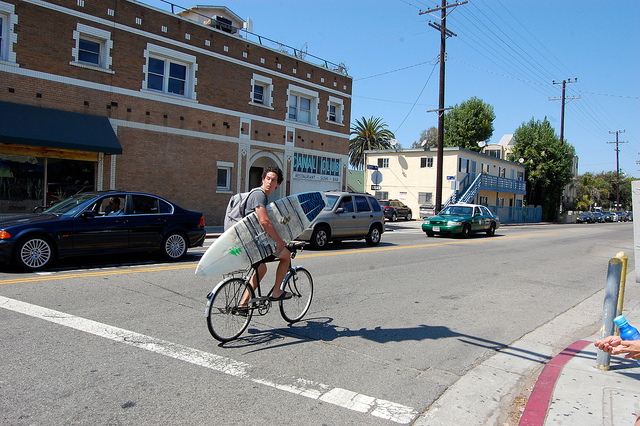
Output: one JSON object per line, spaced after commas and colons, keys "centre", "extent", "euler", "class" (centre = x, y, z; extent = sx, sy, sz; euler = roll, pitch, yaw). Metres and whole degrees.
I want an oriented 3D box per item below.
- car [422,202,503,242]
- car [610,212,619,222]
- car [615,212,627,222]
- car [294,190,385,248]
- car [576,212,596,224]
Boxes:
{"centre": [7.786, 0.385, 26.437], "extent": [1.937, 1.557, 4.603], "euler": [-1, -3, 40], "class": "car"}
{"centre": [48.375, 0.476, 79.863], "extent": [1.717, 1.479, 3.077], "euler": [-2, -4, 31], "class": "car"}
{"centre": [51.992, 0.677, 84.382], "extent": [1.618, 1.410, 2.961], "euler": [-2, -4, 35], "class": "car"}
{"centre": [0.762, 0.200, 18.775], "extent": [3.175, 1.518, 1.817], "euler": [3, -5, -42], "class": "car"}
{"centre": [34.233, 0.666, 62.771], "extent": [1.485, 1.030, 2.952], "euler": [-4, -4, 37], "class": "car"}
